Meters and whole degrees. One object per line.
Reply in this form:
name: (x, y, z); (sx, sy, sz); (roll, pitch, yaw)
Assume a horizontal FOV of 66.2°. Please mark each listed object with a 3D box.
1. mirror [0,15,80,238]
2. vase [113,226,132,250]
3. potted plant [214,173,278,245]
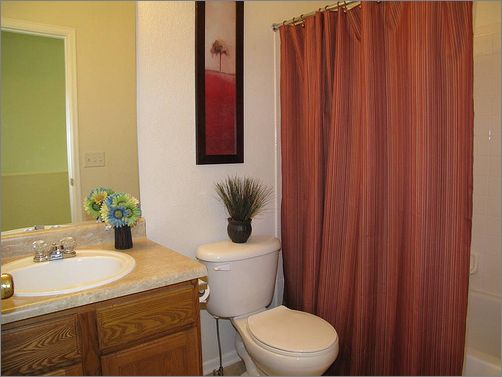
mirror: (-0.995, -0.323, 1.924); (0.318, 1.005, 0.035); (-7, 8, -19)
vase: (-0.660, 0.245, 1.985); (0.101, 0.158, 0.109); (1, 30, -21)
potted plant: (-0.037, 0.116, 2.567); (0.413, 0.505, 0.383); (3, -2, 11)
